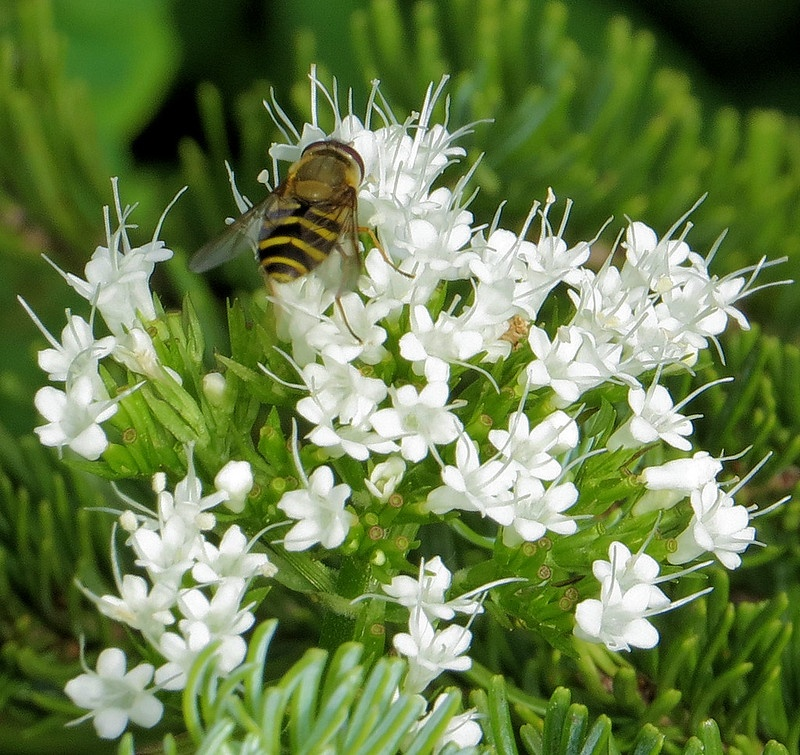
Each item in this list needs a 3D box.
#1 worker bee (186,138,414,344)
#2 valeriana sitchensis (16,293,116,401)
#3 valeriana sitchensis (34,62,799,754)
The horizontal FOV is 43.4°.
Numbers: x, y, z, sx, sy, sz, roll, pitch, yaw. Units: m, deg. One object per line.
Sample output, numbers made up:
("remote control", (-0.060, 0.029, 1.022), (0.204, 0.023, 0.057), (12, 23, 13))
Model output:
("worker bee", (-0.179, -0.285, 1.772), (0.325, 0.119, 0.413), (14, 75, 19))
("valeriana sitchensis", (-0.451, -0.039, 1.407), (0.063, 0.145, 0.043), (3, 67, -1))
("valeriana sitchensis", (-0.089, -0.017, 1.672), (0.961, 0.597, 1.090), (-11, 74, -16))
